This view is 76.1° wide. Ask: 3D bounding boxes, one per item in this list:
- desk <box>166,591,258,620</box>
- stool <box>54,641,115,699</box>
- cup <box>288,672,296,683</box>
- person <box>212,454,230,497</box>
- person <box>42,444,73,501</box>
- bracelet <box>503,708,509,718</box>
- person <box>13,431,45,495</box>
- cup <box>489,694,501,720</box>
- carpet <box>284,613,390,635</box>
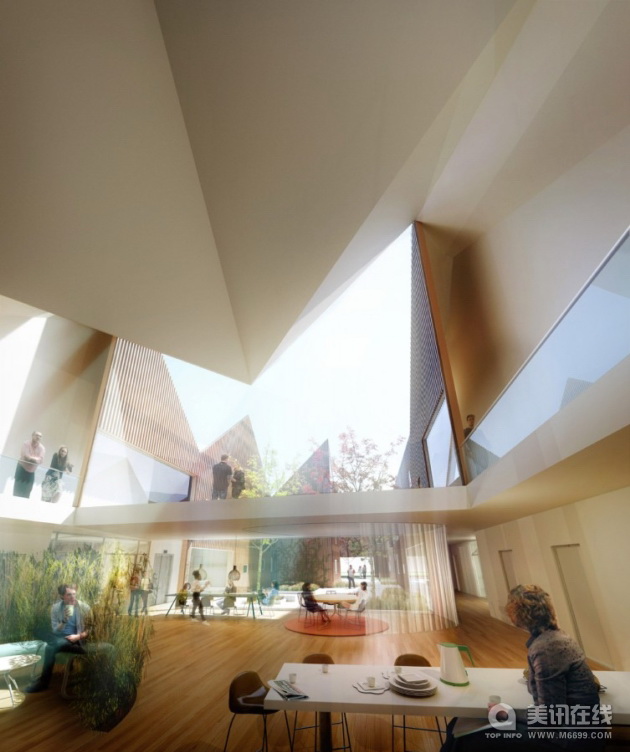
[{"bbox_3d":[-2.283,5.243,9.177,2.905,0.584,0.641,-17,-26,32],"label":"desk"},{"bbox_3d":[-1.905,2.517,3.378,0.352,0.389,0.386,-8,-23,-35],"label":"stool"},{"bbox_3d":[-0.144,1.881,2.502,0.045,0.061,0.050,0,-16,4],"label":"cup"},{"bbox_3d":[-1.755,1.898,7.604,0.471,0.857,0.258,-17,-25,36],"label":"person"},{"bbox_3d":[-5.356,2.000,8.300,0.249,1.215,0.890,6,-22,-18],"label":"person"},{"bbox_3d":[0.929,1.642,1.944,0.021,0.026,0.024,10,-19,-39],"label":"bracelet"},{"bbox_3d":[-5.372,1.654,7.481,0.223,1.205,0.682,2,-21,-10],"label":"person"},{"bbox_3d":[0.889,1.671,2.015,0.047,0.072,0.090,-1,-27,4],"label":"cup"},{"bbox_3d":[0.310,4.621,7.522,2.117,0.285,1.021,-17,-27,31],"label":"carpet"}]
